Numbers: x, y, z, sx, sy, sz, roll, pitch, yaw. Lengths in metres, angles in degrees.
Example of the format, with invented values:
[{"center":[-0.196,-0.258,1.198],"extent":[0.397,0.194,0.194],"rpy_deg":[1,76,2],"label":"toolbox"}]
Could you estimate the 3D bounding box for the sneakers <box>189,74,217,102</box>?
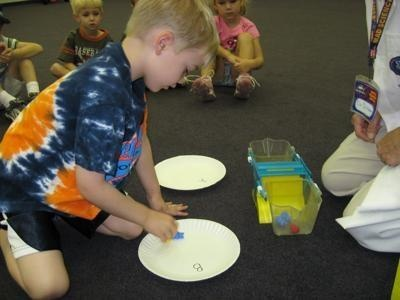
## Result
[{"center":[0.024,-0.478,2.818],"extent":[0.202,0.227,0.153],"rpy_deg":[11,15,12],"label":"sneakers"}]
